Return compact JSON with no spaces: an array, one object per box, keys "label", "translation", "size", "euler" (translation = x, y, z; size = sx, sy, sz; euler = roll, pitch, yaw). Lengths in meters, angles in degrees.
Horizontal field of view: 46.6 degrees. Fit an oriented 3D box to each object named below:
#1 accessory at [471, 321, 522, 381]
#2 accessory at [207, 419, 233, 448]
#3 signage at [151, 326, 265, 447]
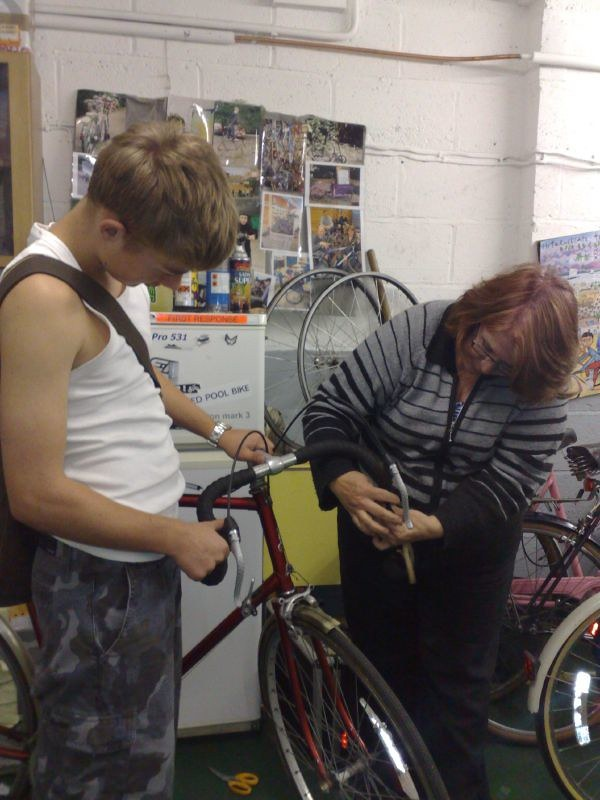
[{"label":"accessory","translation":[0.400,-0.101,1.408],"size":[0.080,0.091,0.056],"euler":[31,61,8]},{"label":"accessory","translation":[-0.163,0.070,1.521],"size":[0.035,0.055,0.058],"euler":[20,58,18]},{"label":"signage","translation":[-0.212,-0.060,2.059],"size":[0.411,0.395,0.300],"euler":[0,6,-5]}]
